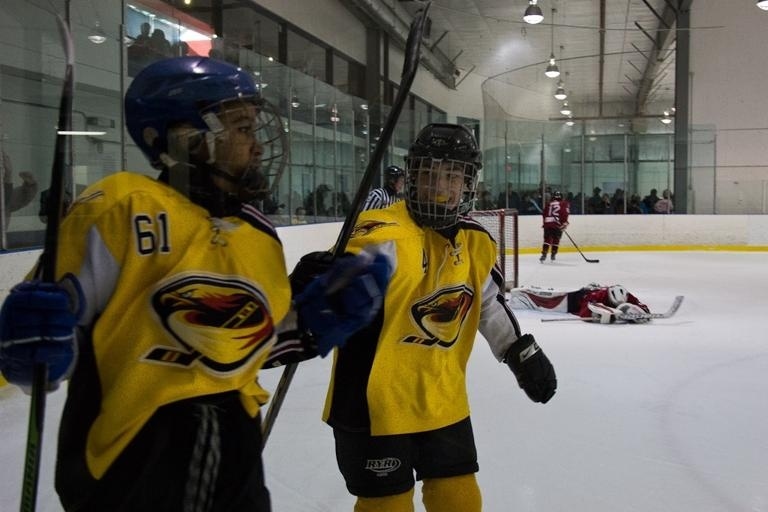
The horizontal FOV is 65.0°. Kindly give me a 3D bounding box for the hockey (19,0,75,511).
[{"bbox_3d":[-0.624,0.042,1.116,0.072,0.934,0.200,-3,8,-44],"label":"hockey"}]

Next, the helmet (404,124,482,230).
[{"bbox_3d":[0.168,-0.224,1.615,0.187,0.270,0.265,8,15,20],"label":"helmet"}]

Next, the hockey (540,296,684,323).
[{"bbox_3d":[2.123,0.530,5.428,0.858,0.180,0.482,-7,-3,5],"label":"hockey"}]

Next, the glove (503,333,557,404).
[{"bbox_3d":[0.438,0.336,1.870,0.138,0.216,0.069,-35,-4,-4],"label":"glove"}]

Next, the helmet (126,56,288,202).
[{"bbox_3d":[-0.350,-0.244,1.212,0.299,0.292,0.231,-4,4,-9],"label":"helmet"}]
